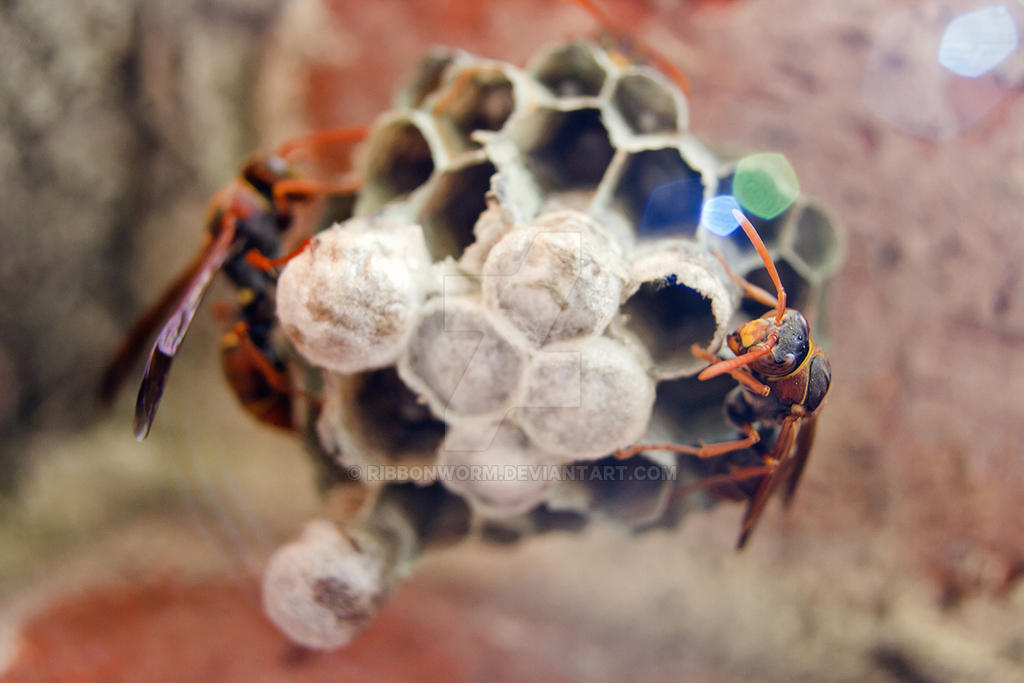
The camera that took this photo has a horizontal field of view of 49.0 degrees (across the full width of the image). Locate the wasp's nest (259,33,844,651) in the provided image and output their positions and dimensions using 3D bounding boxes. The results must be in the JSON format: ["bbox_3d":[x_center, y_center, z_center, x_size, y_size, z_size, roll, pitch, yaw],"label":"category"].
[{"bbox_3d":[0.050,0.023,1.367,0.542,0.380,0.711,29,47,28],"label":"wasp's nest"}]

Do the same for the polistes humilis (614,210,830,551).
[{"bbox_3d":[0.271,0.062,1.273,0.224,0.200,0.305,27,82,3],"label":"polistes humilis"}]

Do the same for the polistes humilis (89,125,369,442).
[{"bbox_3d":[-0.293,-0.065,1.386,0.111,0.273,0.382,34,73,-37],"label":"polistes humilis"}]
